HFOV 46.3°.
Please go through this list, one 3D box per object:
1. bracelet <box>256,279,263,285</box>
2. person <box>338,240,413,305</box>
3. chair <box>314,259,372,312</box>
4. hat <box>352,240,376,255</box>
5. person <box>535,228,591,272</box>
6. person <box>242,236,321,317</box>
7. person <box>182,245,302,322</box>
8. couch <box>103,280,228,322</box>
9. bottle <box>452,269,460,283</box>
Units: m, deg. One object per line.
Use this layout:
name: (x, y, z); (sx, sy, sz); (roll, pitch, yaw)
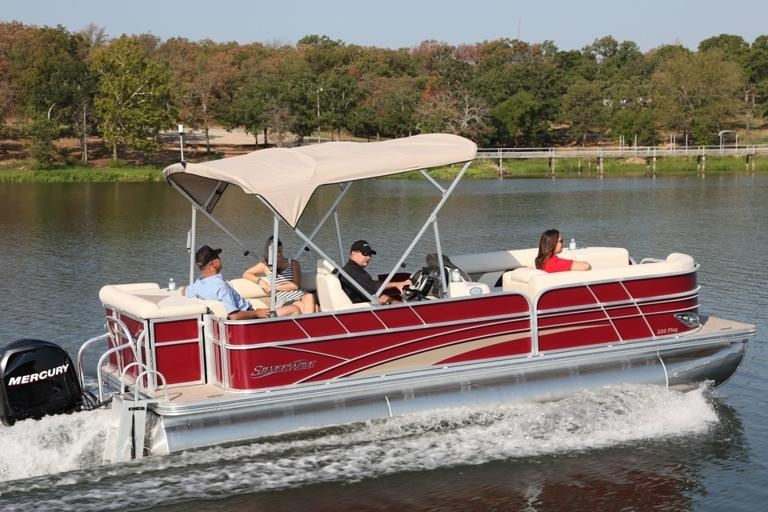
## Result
bracelet: (-1.997, 0.403, 14.383); (0.056, 0.070, 0.083); (27, 18, 15)
person: (-0.033, 0.273, 14.461); (1.372, 0.836, 0.906); (-5, 17, -13)
chair: (-0.661, 0.469, 14.357); (1.063, 0.913, 0.653); (-2, 6, -23)
hat: (-0.321, -0.137, 14.136); (0.375, 0.175, 0.244); (-1, 0, 16)
person: (2.984, -0.022, 14.894); (0.814, 0.554, 0.936); (-5, 16, -12)
person: (-1.538, 0.489, 14.457); (0.821, 1.354, 1.293); (-26, 30, -26)
person: (-2.251, 0.446, 14.393); (2.127, 1.043, 1.557); (1, 17, -46)
couch: (-3.394, 0.688, 13.666); (1.099, 0.450, 2.037); (-4, 4, -40)
bottle: (1.124, 0.318, 14.157); (0.144, 0.210, 0.056); (0, 1, 7)
